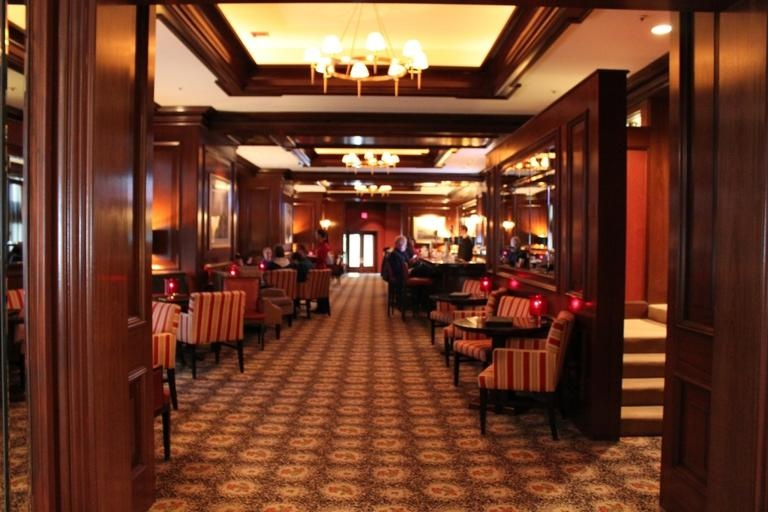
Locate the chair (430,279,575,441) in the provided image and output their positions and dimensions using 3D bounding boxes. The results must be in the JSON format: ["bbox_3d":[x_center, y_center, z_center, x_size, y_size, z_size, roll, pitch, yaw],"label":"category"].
[{"bbox_3d":[1.259,1.111,6.660,1.299,1.359,1.092,1,2,7],"label":"chair"}]

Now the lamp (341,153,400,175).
[{"bbox_3d":[-0.241,-2.045,13.011,0.979,0.483,0.906,-7,12,-44],"label":"lamp"}]

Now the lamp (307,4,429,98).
[{"bbox_3d":[-0.294,-2.458,7.712,1.256,1.116,1.232,-3,11,-19],"label":"lamp"}]

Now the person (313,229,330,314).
[{"bbox_3d":[-1.601,0.206,14.797,0.523,1.678,0.495,-7,20,-31],"label":"person"}]

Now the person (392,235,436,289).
[{"bbox_3d":[0.462,0.184,12.941,0.879,1.208,0.635,3,3,12],"label":"person"}]

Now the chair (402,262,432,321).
[{"bbox_3d":[0.707,0.680,12.709,0.549,1.077,1.588,1,6,3],"label":"chair"}]
